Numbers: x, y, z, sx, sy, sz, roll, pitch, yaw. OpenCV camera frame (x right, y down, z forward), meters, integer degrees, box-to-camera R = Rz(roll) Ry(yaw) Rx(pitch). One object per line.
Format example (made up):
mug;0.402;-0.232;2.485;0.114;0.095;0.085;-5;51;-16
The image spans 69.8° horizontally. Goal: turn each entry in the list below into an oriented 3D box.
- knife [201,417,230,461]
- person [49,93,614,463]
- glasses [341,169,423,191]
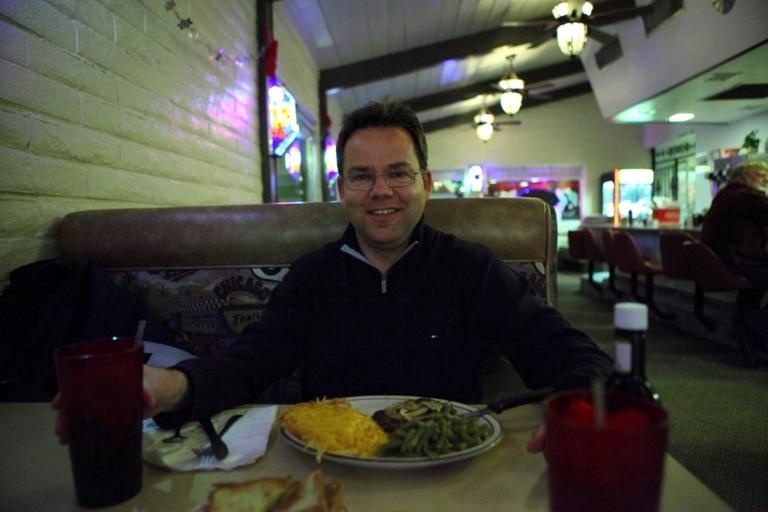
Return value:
knife;-0.405;0.445;1.341;0.038;0.007;0.156;-4;11;-23
person;-0.025;0.133;2.041;1.712;1.252;0.914;-6;1;-17
glasses;-0.004;-0.278;2.023;0.262;0.080;0.090;-1;6;2
